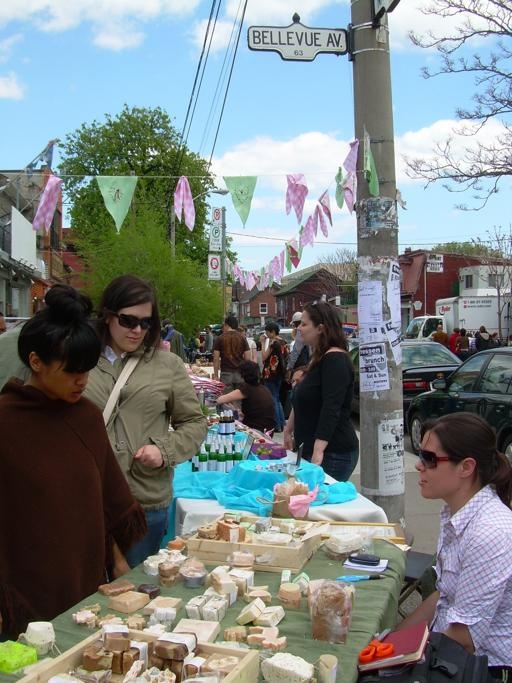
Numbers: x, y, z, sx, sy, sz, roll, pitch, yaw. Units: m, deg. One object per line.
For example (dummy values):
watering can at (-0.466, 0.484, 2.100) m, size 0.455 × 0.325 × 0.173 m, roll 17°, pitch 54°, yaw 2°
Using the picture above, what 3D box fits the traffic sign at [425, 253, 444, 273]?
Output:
traffic sign at (9.544, -4.264, 32.045) m, size 0.851 × 0.990 × 1.298 m, roll 1°, pitch 1°, yaw 12°

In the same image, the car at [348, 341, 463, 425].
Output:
car at (2.690, 0.591, 10.023) m, size 1.152 × 0.851 × 2.518 m, roll -2°, pitch 2°, yaw -7°

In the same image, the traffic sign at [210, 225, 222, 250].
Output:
traffic sign at (-1.306, -3.420, 19.950) m, size 0.392 × 0.758 × 1.016 m, roll 1°, pitch 1°, yaw -2°
